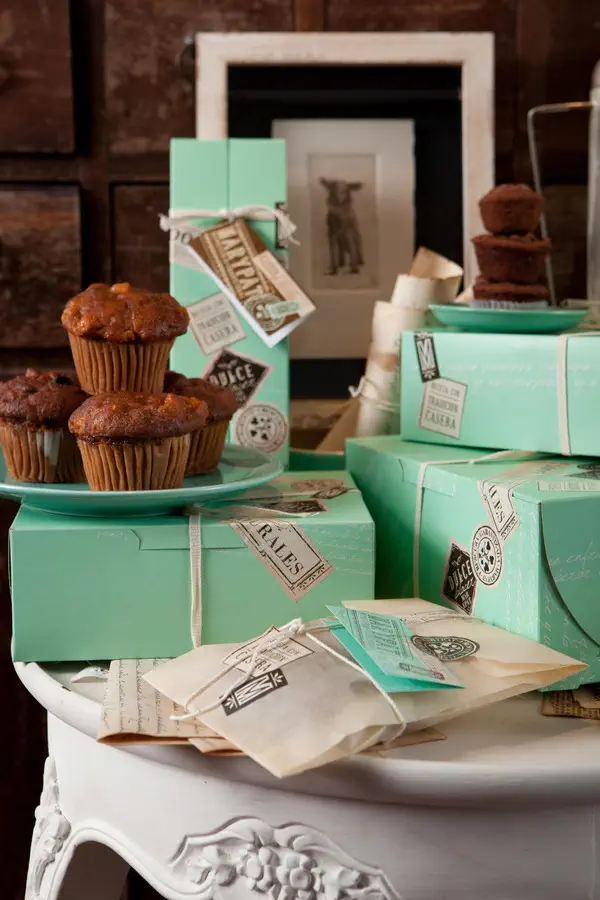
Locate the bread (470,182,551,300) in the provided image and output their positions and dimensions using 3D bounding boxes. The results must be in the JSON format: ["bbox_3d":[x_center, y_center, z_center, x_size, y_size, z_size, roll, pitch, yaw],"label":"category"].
[{"bbox_3d":[0.189,-0.185,0.812,0.064,0.108,0.064,-2,10,-14],"label":"bread"}]

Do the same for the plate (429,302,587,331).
[{"bbox_3d":[0.175,-0.113,0.781,0.129,0.024,0.081,2,8,13],"label":"plate"}]

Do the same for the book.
[{"bbox_3d":[-0.049,-0.158,0.898,0.082,0.138,0.036,-41,-2,-12],"label":"book"}]
